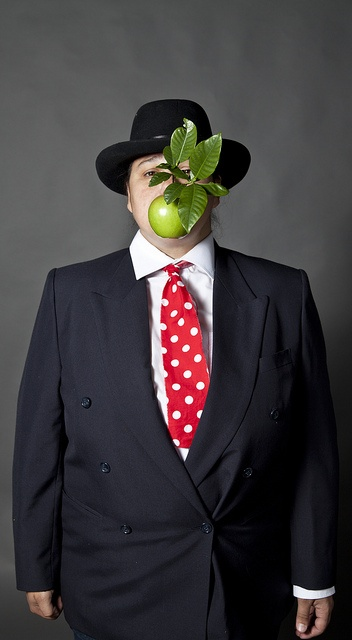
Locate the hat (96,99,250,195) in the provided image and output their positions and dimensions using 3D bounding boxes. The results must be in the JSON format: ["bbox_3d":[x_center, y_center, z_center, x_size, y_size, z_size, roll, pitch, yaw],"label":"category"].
[{"bbox_3d":[-0.010,-0.482,1.536,0.380,0.152,0.353,3,12,19],"label":"hat"}]

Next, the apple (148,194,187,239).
[{"bbox_3d":[-0.015,-0.220,1.293,0.093,0.090,0.090,-7,-3,9],"label":"apple"}]
